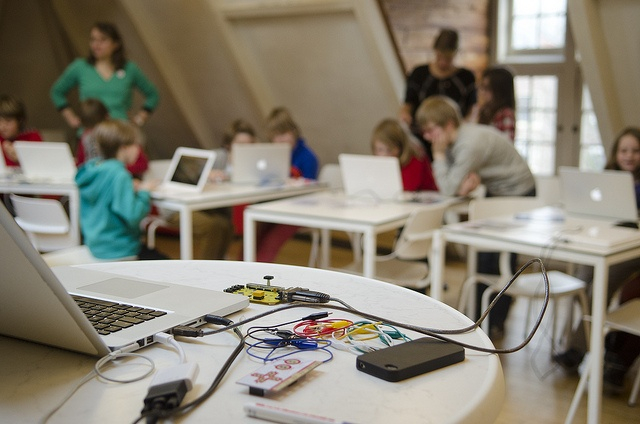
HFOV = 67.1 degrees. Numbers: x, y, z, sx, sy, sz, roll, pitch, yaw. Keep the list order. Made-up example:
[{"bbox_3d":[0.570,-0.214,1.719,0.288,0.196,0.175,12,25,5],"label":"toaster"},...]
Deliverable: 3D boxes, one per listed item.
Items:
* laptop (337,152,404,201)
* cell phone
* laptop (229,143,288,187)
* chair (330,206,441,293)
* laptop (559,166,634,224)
[{"bbox_3d":[0.343,-0.231,3.135,0.414,0.291,0.307,14,33,31],"label":"laptop"},{"bbox_3d":[0.173,0.253,0.902,0.159,0.020,0.078,-7,10,-34],"label":"cell phone"},{"bbox_3d":[-0.433,-0.358,3.521,0.461,0.285,0.309,-3,8,-28],"label":"laptop"},{"bbox_3d":[0.478,0.181,2.979,0.546,0.738,0.470,10,13,26],"label":"chair"},{"bbox_3d":[1.446,-0.101,2.529,0.279,0.262,0.388,-25,21,-39],"label":"laptop"}]
